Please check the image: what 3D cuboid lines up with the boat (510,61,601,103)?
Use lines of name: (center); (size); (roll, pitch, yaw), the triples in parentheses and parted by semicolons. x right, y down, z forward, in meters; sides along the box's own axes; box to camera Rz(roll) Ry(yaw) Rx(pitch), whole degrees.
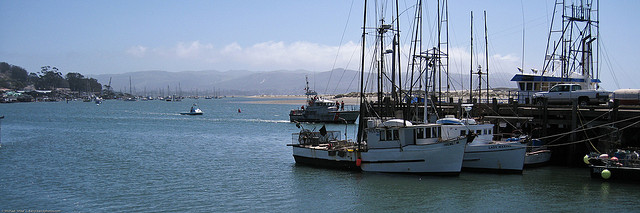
boat: (69.804, -7.801, 142.956); (16.106, 6.999, 23.401); (1, 9, 27)
